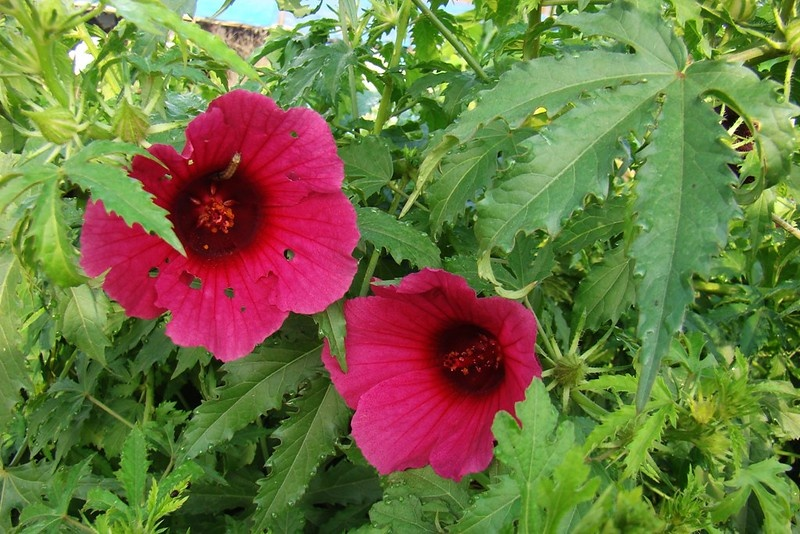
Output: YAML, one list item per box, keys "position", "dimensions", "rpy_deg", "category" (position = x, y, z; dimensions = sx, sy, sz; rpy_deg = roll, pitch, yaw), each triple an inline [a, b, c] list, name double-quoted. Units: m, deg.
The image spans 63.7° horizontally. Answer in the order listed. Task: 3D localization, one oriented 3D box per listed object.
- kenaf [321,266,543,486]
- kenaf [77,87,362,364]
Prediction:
- position: [0.085, 0.211, 1.183]
  dimensions: [0.396, 0.374, 0.162]
  rpy_deg: [26, 5, 28]
  category: "kenaf"
- position: [-0.297, -0.049, 1.151]
  dimensions: [0.470, 0.484, 0.231]
  rpy_deg: [20, 12, -16]
  category: "kenaf"
